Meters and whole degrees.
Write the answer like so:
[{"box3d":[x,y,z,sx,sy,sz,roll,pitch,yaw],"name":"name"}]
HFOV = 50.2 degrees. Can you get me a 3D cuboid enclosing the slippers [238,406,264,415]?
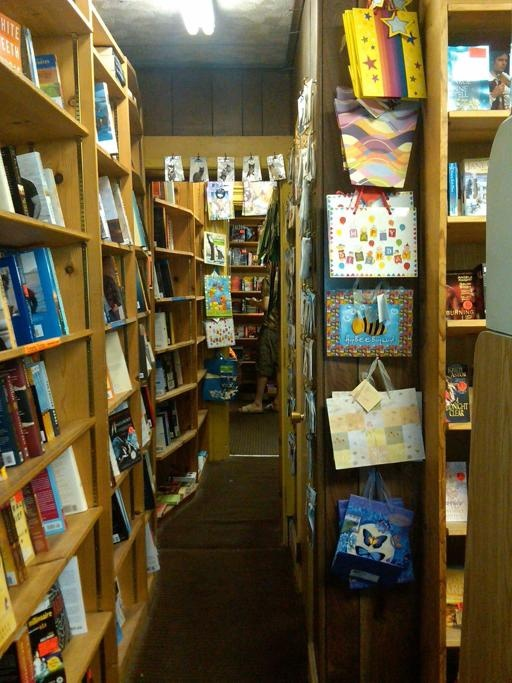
[{"box3d":[-0.060,0.851,6.879,0.210,0.092,0.129,2,-5,-7],"name":"slippers"}]
